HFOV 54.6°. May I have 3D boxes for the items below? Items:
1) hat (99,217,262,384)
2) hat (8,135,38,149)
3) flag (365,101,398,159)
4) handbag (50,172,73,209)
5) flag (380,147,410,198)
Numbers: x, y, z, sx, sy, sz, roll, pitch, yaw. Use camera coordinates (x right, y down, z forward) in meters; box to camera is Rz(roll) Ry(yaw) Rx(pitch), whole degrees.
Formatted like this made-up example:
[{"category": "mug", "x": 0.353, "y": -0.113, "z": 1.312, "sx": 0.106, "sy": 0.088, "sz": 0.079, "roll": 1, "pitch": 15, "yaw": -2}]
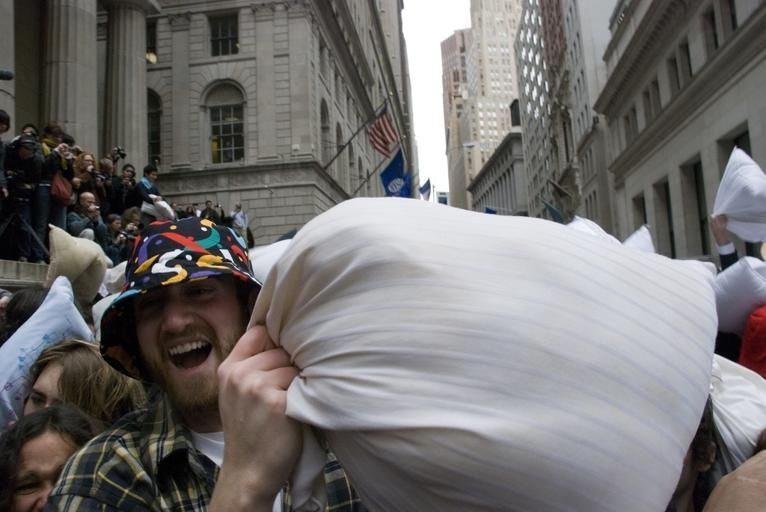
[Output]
[{"category": "hat", "x": -1.001, "y": 0.133, "z": 3.892, "sx": 0.742, "sy": 0.562, "sz": 0.981, "roll": -26, "pitch": -26, "yaw": 7}, {"category": "hat", "x": -4.650, "y": -1.490, "z": 9.649, "sx": 0.230, "sy": 0.150, "sz": 0.181, "roll": -16, "pitch": -20, "yaw": 23}, {"category": "flag", "x": -0.033, "y": -4.427, "z": 25.536, "sx": 0.924, "sy": 0.145, "sz": 1.819, "roll": 14, "pitch": -45, "yaw": 6}, {"category": "handbag", "x": -4.416, "y": -0.895, "z": 10.167, "sx": 0.108, "sy": 0.404, "sz": 0.321, "roll": -6, "pitch": -47, "yaw": 8}, {"category": "flag", "x": 0.462, "y": -2.763, "z": 25.100, "sx": 1.258, "sy": 0.141, "sz": 2.884, "roll": 7, "pitch": -30, "yaw": -1}]
